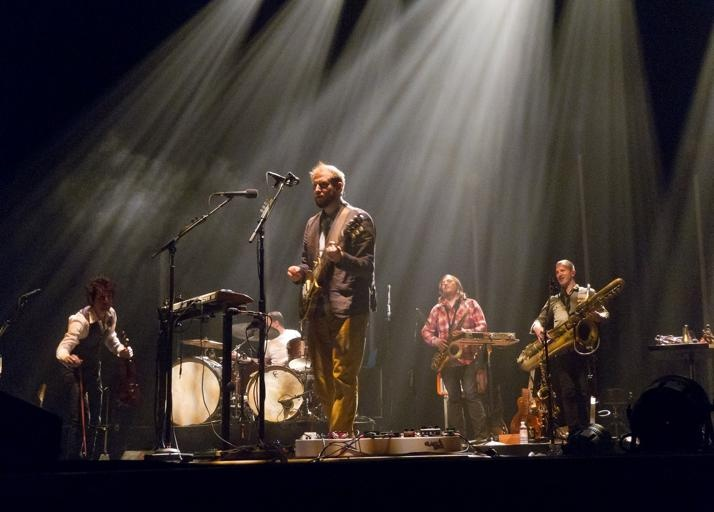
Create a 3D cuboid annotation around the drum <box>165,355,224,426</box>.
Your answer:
[{"bbox_3d":[-2.454,2.044,10.405,0.737,1.064,0.499,5,-23,-13],"label":"drum"}]

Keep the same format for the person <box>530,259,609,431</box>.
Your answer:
[{"bbox_3d":[3.148,1.403,10.010,0.763,2.738,0.956,1,-5,-44],"label":"person"}]

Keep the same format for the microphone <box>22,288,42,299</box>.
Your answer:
[{"bbox_3d":[-5.050,0.594,10.578,0.149,0.076,0.160,3,17,-15],"label":"microphone"}]

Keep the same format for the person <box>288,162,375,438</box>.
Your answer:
[{"bbox_3d":[-0.312,0.509,7.744,1.219,3.460,0.862,-6,-11,34],"label":"person"}]

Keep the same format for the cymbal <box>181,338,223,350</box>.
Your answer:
[{"bbox_3d":[-2.570,1.444,11.133,0.444,0.115,0.480,6,-14,12],"label":"cymbal"}]

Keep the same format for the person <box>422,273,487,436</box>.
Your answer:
[{"bbox_3d":[1.677,1.687,11.514,1.037,2.883,0.764,-6,-1,35],"label":"person"}]

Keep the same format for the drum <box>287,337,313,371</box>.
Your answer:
[{"bbox_3d":[-0.953,1.699,11.243,0.524,0.583,0.606,-2,-36,-6],"label":"drum"}]

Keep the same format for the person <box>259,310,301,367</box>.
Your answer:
[{"bbox_3d":[-1.426,1.513,12.062,0.560,1.123,0.626,6,0,-31],"label":"person"}]

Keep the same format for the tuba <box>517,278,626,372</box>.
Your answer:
[{"bbox_3d":[3.122,1.038,10.039,0.558,0.938,1.821,16,-29,-34],"label":"tuba"}]
